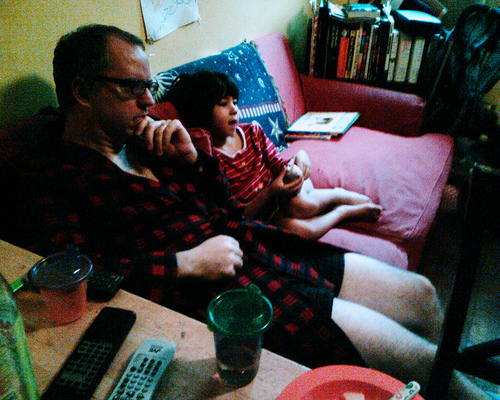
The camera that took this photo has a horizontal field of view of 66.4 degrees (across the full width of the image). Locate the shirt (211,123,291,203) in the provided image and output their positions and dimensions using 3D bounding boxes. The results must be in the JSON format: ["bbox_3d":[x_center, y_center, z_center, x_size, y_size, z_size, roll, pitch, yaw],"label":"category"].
[{"bbox_3d":[-0.007,-0.148,1.571,0.152,0.273,0.283,-5,40,47],"label":"shirt"}]

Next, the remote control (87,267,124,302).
[{"bbox_3d":[-0.312,0.182,0.823,0.061,0.017,0.069,14,34,-1],"label":"remote control"}]

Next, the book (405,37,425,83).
[{"bbox_3d":[1.058,-0.886,2.465,0.092,0.098,0.357,3,74,39],"label":"book"}]

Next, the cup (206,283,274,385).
[{"bbox_3d":[-0.023,0.259,0.715,0.113,0.160,0.116,-4,29,2],"label":"cup"}]

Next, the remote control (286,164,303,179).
[{"bbox_3d":[0.166,-0.110,1.442,0.051,0.046,0.060,10,35,18],"label":"remote control"}]

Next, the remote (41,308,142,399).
[{"bbox_3d":[-0.291,0.279,0.690,0.058,0.024,0.190,12,35,12],"label":"remote"}]

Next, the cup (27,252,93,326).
[{"bbox_3d":[-0.378,0.172,0.831,0.129,0.107,0.137,5,26,-3],"label":"cup"}]

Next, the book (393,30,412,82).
[{"bbox_3d":[0.978,-0.896,2.453,0.090,0.043,0.402,13,68,9],"label":"book"}]

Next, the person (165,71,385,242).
[{"bbox_3d":[0.101,-0.150,1.551,0.814,0.607,0.412,13,44,21],"label":"person"}]

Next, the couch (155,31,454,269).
[{"bbox_3d":[0.458,0.010,2.324,1.178,0.964,1.701,13,54,24],"label":"couch"}]
